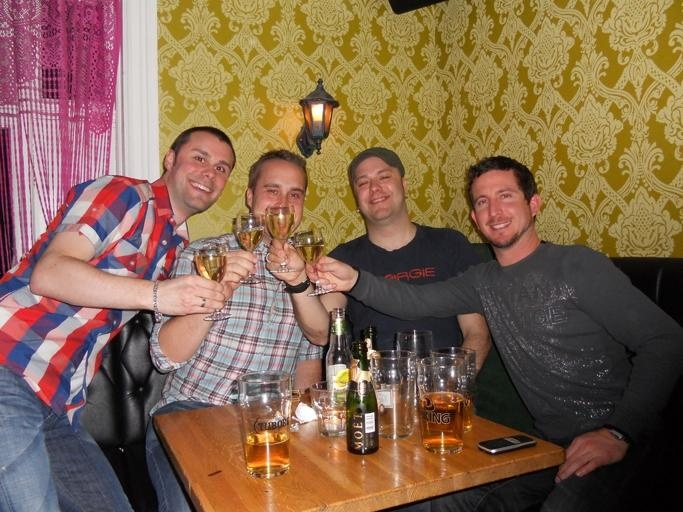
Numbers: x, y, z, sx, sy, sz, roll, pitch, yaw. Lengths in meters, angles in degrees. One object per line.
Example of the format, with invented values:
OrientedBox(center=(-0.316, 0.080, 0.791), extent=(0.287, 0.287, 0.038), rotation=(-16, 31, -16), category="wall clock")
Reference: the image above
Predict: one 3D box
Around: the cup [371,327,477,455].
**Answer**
OrientedBox(center=(0.317, 0.507, 1.907), extent=(0.244, 0.400, 0.396), rotation=(-2, -4, -15), category="cup")

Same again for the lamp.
OrientedBox(center=(-0.172, -0.995, 3.698), extent=(0.261, 0.507, 0.304), rotation=(-6, 4, -21), category="lamp")

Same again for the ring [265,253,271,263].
OrientedBox(center=(-0.345, 0.010, 2.428), extent=(0.034, 0.048, 0.017), rotation=(1, 26, 2), category="ring")

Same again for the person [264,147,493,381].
OrientedBox(center=(0.193, 0.215, 2.950), extent=(1.192, 1.681, 0.946), rotation=(-7, -2, 8), category="person")

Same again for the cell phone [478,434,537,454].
OrientedBox(center=(0.568, 0.639, 1.754), extent=(0.147, 0.021, 0.074), rotation=(-2, 0, -16), category="cell phone")

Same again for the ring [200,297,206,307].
OrientedBox(center=(-0.528, 0.176, 1.972), extent=(0.019, 0.029, 0.030), rotation=(8, 6, 7), category="ring")

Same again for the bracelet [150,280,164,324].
OrientedBox(center=(-0.730, 0.176, 2.041), extent=(0.049, 0.194, 0.137), rotation=(-7, 7, -16), category="bracelet")

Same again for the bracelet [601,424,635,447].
OrientedBox(center=(1.094, 0.703, 2.017), extent=(0.082, 0.074, 0.078), rotation=(-48, 4, 42), category="bracelet")

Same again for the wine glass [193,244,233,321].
OrientedBox(center=(-0.529, 0.114, 2.133), extent=(0.117, 0.217, 0.403), rotation=(-6, 3, -14), category="wine glass")
